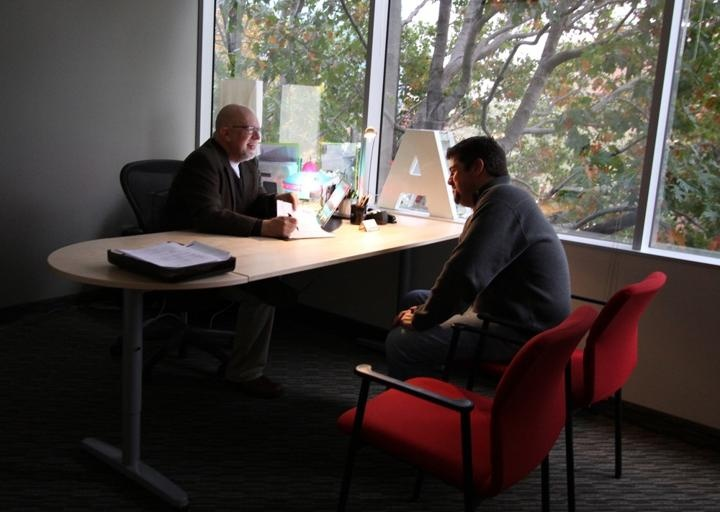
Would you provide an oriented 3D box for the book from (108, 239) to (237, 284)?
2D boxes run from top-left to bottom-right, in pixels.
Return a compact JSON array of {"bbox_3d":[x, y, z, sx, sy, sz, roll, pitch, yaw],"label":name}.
[{"bbox_3d":[-0.837,0.017,2.450,0.287,0.104,0.291,14,14,28],"label":"book"}]

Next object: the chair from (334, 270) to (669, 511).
[{"bbox_3d":[0.761,0.673,2.613,0.514,0.662,1.081,15,14,37],"label":"chair"}]

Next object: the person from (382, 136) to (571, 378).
[{"bbox_3d":[0.633,0.184,3.075,0.991,1.612,0.821,5,8,28],"label":"person"}]

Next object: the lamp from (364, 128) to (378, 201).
[{"bbox_3d":[0.084,-0.742,4.371,0.113,0.560,0.180,0,24,-7],"label":"lamp"}]
